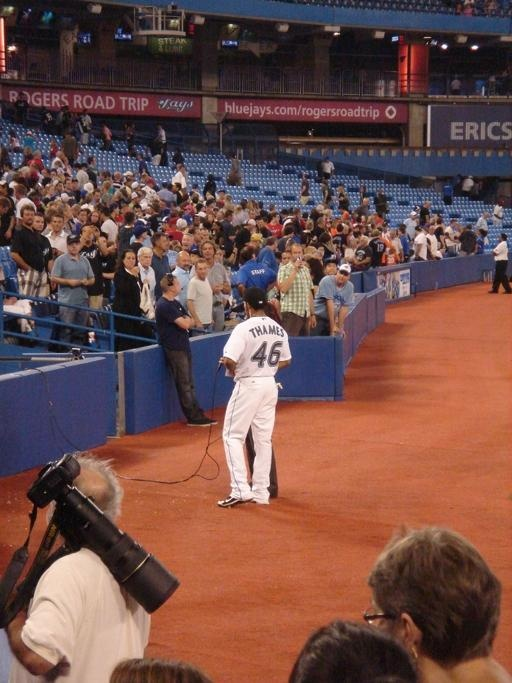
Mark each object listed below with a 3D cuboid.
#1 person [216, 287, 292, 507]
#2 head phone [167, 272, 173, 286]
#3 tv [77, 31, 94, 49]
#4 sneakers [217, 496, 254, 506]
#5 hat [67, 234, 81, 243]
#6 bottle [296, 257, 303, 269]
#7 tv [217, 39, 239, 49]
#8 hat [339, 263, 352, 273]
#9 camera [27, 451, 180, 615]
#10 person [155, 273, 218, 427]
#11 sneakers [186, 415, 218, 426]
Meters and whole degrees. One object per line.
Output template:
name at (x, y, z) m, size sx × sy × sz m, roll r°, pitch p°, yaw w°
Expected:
person at (-0.041, 0.670, 7.591) m, size 0.797 × 1.770 × 0.328 m, roll -12°, pitch 14°, yaw -41°
head phone at (-1.126, -0.782, 10.175) m, size 0.095 × 0.123 × 0.123 m, roll 7°, pitch 23°, yaw 18°
tv at (-8.730, -15.423, 40.796) m, size 0.740 × 0.715 × 1.113 m, roll -3°, pitch 10°, yaw -5°
sneakers at (-0.198, 1.507, 7.601) m, size 0.335 × 0.127 × 0.119 m, roll 1°, pitch -1°, yaw -7°
hat at (-2.662, -1.477, 11.710) m, size 0.220 × 0.169 × 0.316 m, roll 1°, pitch 4°, yaw -17°
bottle at (0.676, -1.211, 12.432) m, size 0.110 × 0.182 × 0.277 m, roll -2°, pitch 10°, yaw 5°
tv at (-1.503, -15.779, 42.523) m, size 0.687 × 0.633 × 0.161 m, roll 2°, pitch 5°, yaw 0°
hat at (1.444, -1.196, 12.919) m, size 0.195 × 0.115 × 0.307 m, roll 13°, pitch 0°, yaw 13°
camera at (-0.492, 0.512, 2.438) m, size 0.258 × 0.641 × 0.232 m, roll -43°, pitch 2°, yaw -24°
person at (-0.985, 0.140, 10.491) m, size 0.620 × 2.065 × 0.502 m, roll -7°, pitch 11°, yaw -22°
sneakers at (-0.718, 1.038, 10.730) m, size 0.398 × 0.163 × 0.151 m, roll -1°, pitch 1°, yaw -1°
